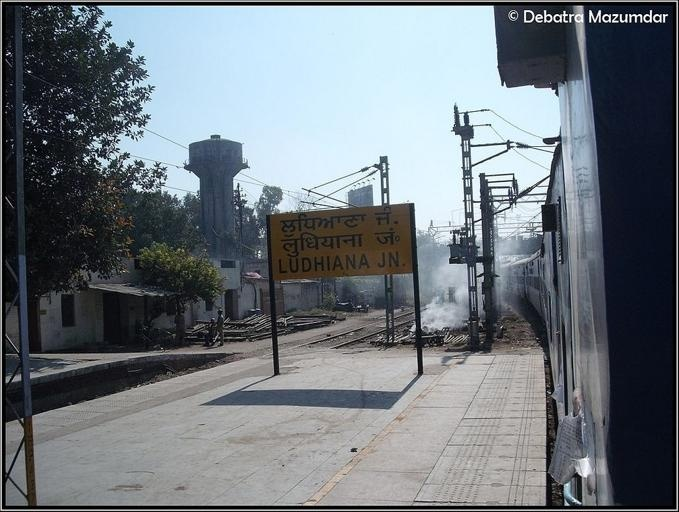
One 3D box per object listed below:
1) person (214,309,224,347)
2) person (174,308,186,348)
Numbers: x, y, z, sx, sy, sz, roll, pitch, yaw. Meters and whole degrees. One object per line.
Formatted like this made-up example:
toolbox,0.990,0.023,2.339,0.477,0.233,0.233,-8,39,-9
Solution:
person,-4.911,2.931,25.584,0.322,1.480,2.127,-2,-1,-12
person,-6.573,2.910,25.663,0.387,1.657,1.153,-2,0,-15
